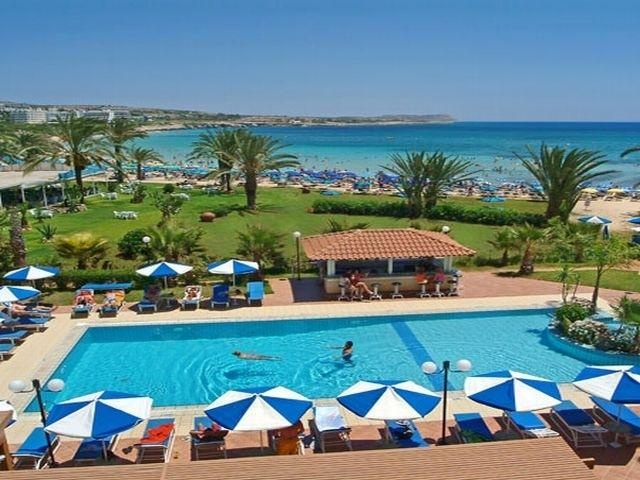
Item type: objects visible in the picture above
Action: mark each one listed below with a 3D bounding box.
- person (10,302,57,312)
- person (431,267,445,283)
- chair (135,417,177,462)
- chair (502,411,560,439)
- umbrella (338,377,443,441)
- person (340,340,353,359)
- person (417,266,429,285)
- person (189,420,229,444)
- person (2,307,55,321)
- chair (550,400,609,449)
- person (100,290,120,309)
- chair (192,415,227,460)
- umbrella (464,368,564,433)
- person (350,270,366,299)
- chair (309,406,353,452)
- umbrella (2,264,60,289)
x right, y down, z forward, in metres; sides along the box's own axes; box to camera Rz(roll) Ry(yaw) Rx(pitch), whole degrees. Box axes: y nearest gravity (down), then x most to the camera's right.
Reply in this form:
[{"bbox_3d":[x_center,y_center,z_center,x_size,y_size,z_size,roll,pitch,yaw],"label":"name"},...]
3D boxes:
[{"bbox_3d":[-11.918,2.800,18.601,1.517,0.217,0.664,1,4,-5],"label":"person"},{"bbox_3d":[5.600,1.642,21.158,0.599,0.668,0.878,2,15,14],"label":"person"},{"bbox_3d":[-3.987,4.882,10.925,0.876,0.448,1.271,2,20,-1],"label":"chair"},{"bbox_3d":[5.283,4.702,11.420,0.783,0.325,1.241,-1,9,-1],"label":"chair"},{"bbox_3d":[1.761,3.807,10.962,2.327,0.503,2.006,0,7,19],"label":"umbrella"},{"bbox_3d":[0.964,3.955,16.055,0.428,0.695,0.330,17,53,15],"label":"person"},{"bbox_3d":[4.871,1.645,21.173,0.579,0.944,0.901,1,17,11],"label":"person"},{"bbox_3d":[-2.689,4.759,11.096,0.939,0.212,0.867,1,-1,-2],"label":"person"},{"bbox_3d":[-11.764,2.958,18.096,1.568,0.400,0.775,-1,7,-8],"label":"person"},{"bbox_3d":[6.542,4.688,11.287,0.769,0.360,1.681,-4,12,1],"label":"chair"},{"bbox_3d":[-8.742,2.532,18.877,0.756,0.261,0.853,5,19,-17],"label":"person"},{"bbox_3d":[-2.701,4.667,10.957,0.862,0.300,1.640,1,1,-11],"label":"chair"},{"bbox_3d":[4.830,3.777,11.426,2.950,0.624,2.227,1,2,7],"label":"umbrella"},{"bbox_3d":[1.733,2.077,20.607,0.652,1.171,0.919,-2,17,3],"label":"person"},{"bbox_3d":[0.253,4.763,11.329,0.855,0.298,1.095,1,20,-8],"label":"chair"},{"bbox_3d":[-12.165,1.726,19.359,2.291,0.975,1.655,-1,29,-10],"label":"umbrella"}]
